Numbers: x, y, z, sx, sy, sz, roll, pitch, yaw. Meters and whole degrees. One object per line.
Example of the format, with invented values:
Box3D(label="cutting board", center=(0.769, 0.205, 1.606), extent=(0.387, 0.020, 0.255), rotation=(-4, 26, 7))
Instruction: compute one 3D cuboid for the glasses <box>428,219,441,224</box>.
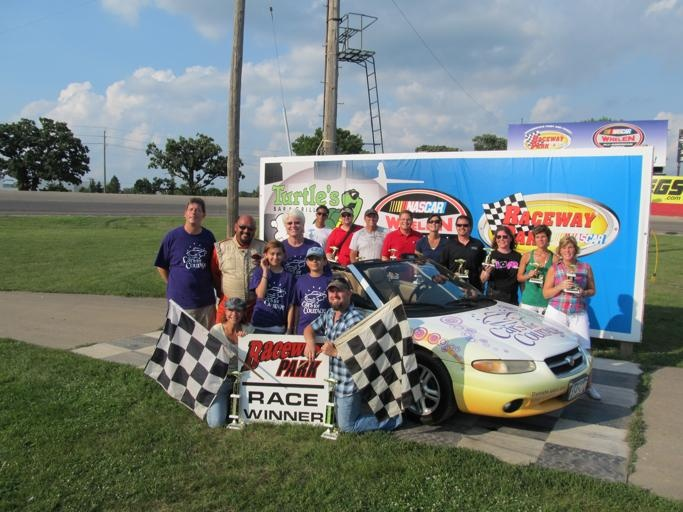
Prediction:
Box3D(label="glasses", center=(1.418, -0.518, 8.968), extent=(0.179, 0.068, 0.123), rotation=(3, 10, 14))

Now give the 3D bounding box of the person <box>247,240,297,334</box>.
Box3D(label="person", center=(-0.833, 0.394, 6.971), extent=(0.543, 1.118, 0.345), rotation=(-1, 9, -8))

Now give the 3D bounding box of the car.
Box3D(label="car", center=(1.295, 0.924, 7.027), extent=(1.485, 1.112, 2.659), rotation=(-7, 8, -41))

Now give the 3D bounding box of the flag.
Box3D(label="flag", center=(-1.744, 1.264, 6.799), extent=(0.985, 0.890, 0.133), rotation=(45, 15, 10))

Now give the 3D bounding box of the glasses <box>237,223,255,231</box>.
Box3D(label="glasses", center=(-1.183, -0.329, 7.213), extent=(0.197, 0.083, 0.118), rotation=(-3, 10, -22))

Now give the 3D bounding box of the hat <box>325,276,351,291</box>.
Box3D(label="hat", center=(-0.036, 0.323, 6.509), extent=(0.250, 0.135, 0.209), rotation=(-1, 10, -13))

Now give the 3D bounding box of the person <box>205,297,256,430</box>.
Box3D(label="person", center=(-1.372, 1.208, 6.640), extent=(0.365, 1.413, 0.482), rotation=(5, 10, 30))

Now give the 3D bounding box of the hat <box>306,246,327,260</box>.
Box3D(label="hat", center=(-0.306, -0.027, 6.881), extent=(0.221, 0.119, 0.179), rotation=(-3, 10, -21))
